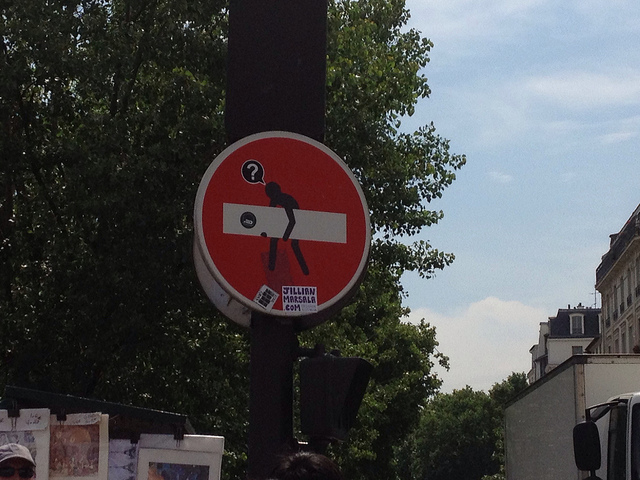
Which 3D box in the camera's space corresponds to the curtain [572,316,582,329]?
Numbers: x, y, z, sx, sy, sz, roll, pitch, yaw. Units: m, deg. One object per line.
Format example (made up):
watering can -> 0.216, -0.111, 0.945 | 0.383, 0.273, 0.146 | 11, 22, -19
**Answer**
curtain -> 23.356, 7.448, 117.517 | 0.920, 1.260, 0.111 | -3, -4, 38
